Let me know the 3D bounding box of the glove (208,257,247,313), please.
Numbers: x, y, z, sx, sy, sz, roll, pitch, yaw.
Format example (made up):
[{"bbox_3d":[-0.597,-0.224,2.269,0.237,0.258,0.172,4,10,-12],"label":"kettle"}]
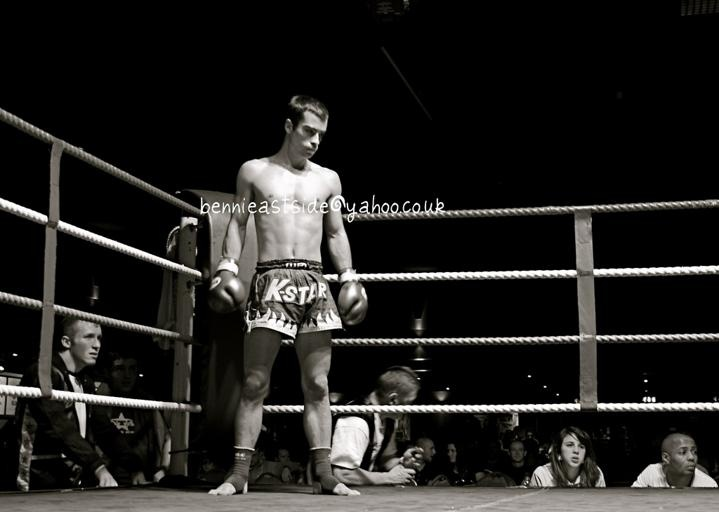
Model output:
[{"bbox_3d":[-0.773,0.175,4.829,0.302,0.367,0.223,3,-31,-10],"label":"glove"}]

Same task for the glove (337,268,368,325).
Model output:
[{"bbox_3d":[-0.057,0.248,4.934,0.194,0.294,0.142,25,-25,-30],"label":"glove"}]
